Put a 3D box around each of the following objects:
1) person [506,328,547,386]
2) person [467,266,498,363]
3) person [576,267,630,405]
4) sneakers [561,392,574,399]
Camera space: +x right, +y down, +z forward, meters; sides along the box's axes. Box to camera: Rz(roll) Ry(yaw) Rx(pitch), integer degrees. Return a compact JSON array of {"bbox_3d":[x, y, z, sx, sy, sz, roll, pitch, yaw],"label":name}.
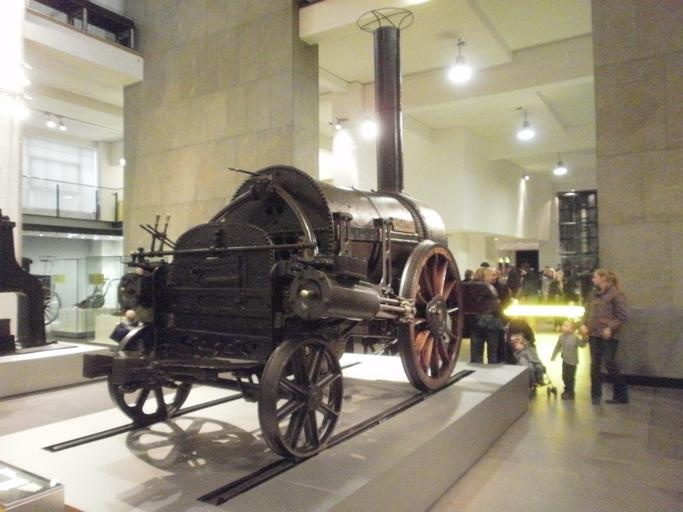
[{"bbox_3d":[2.774,1.537,8.454,0.622,0.843,0.453,-4,7,-27],"label":"person"},{"bbox_3d":[2.055,0.940,8.104,0.398,1.532,1.482,1,6,15],"label":"person"},{"bbox_3d":[3.717,1.110,7.867,0.522,1.805,0.536,2,7,16],"label":"person"},{"bbox_3d":[3.211,1.995,7.997,0.206,0.082,0.074,0,-4,0],"label":"sneakers"}]
